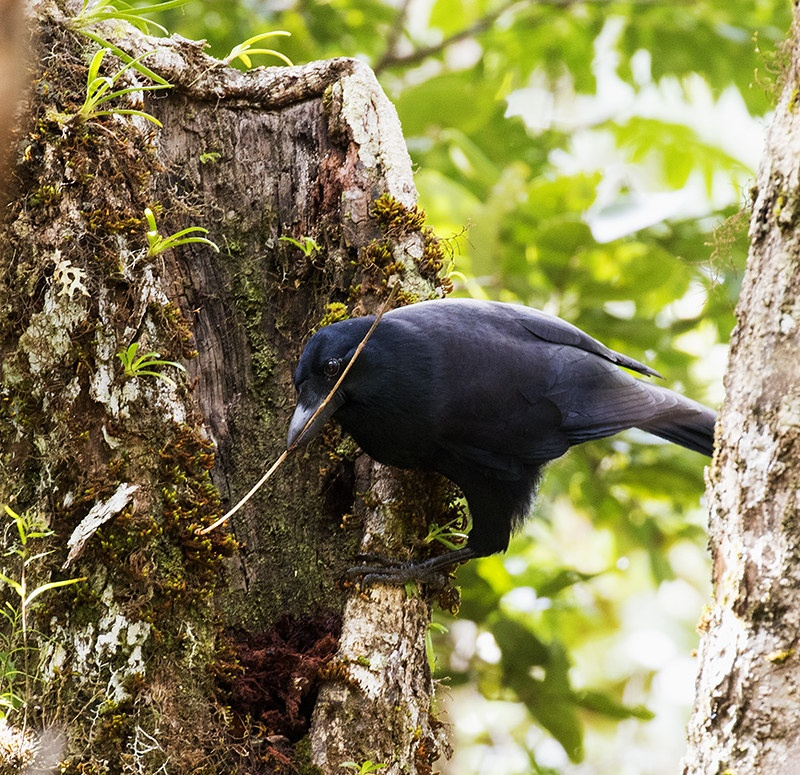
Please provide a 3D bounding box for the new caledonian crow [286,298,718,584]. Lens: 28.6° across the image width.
[{"bbox_3d":[0.629,0.075,6.986,0.792,2.285,1.311,-147,-131,-61],"label":"new caledonian crow"}]
